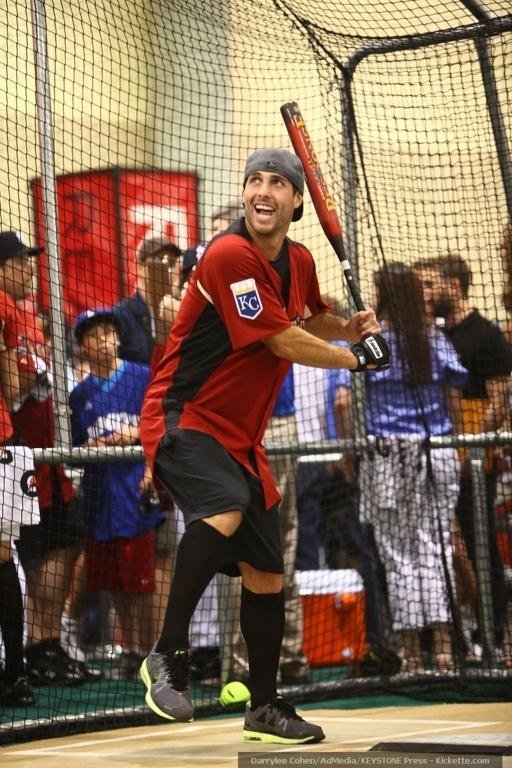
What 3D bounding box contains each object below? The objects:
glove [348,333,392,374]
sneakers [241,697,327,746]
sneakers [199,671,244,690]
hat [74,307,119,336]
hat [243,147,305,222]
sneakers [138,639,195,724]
[{"bbox_3d":[0.370,-0.097,2.651,0.153,0.081,0.153,-3,-1,-30],"label":"glove"},{"bbox_3d":[0.074,1.032,2.458,0.288,0.121,0.102,-5,-17,25],"label":"sneakers"},{"bbox_3d":[-0.154,1.260,3.427,0.158,0.070,0.111,-1,11,7],"label":"sneakers"},{"bbox_3d":[-0.804,-0.311,4.021,0.153,0.173,0.189,0,-2,-11],"label":"hat"},{"bbox_3d":[0.073,-0.623,2.502,0.161,0.149,0.202,1,-32,12],"label":"hat"},{"bbox_3d":[-0.225,0.771,2.100,0.107,0.094,0.215,20,12,-30],"label":"sneakers"}]
